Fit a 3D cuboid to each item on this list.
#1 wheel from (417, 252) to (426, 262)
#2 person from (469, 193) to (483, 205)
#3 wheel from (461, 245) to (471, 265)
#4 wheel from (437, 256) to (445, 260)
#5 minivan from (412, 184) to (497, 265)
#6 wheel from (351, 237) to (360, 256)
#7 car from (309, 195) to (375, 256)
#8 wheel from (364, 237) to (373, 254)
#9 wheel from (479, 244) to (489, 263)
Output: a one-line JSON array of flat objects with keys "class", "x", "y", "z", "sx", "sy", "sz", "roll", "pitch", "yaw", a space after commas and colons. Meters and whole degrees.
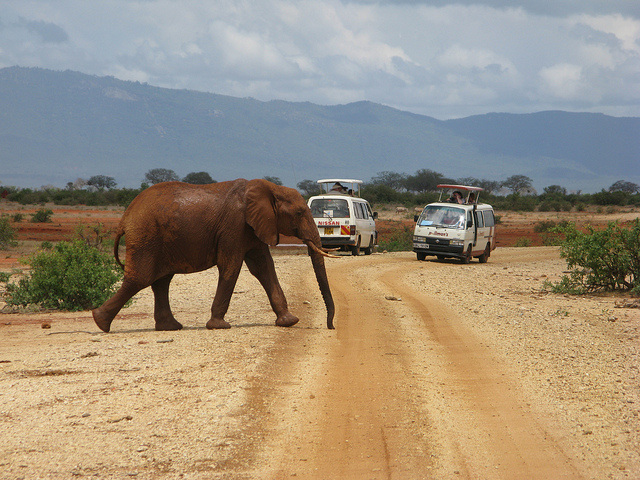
[{"class": "wheel", "x": 3.990, "y": 0.608, "z": 23.531, "sx": 0.299, "sy": 0.314, "sz": 0.316, "roll": -1, "pitch": 15, "yaw": 0}, {"class": "person", "x": 6.560, "y": -1.783, "z": 25.470, "sx": 0.317, "sy": 0.463, "sz": 0.848, "roll": 1, "pitch": 9, "yaw": 24}, {"class": "wheel", "x": 5.465, "y": 0.505, "z": 22.557, "sx": 0.229, "sy": 0.706, "sz": 0.679, "roll": 0, "pitch": -1, "yaw": 11}, {"class": "wheel", "x": 4.876, "y": 0.701, "z": 24.269, "sx": 0.228, "sy": 0.066, "sz": 0.226, "roll": 0, "pitch": -9, "yaw": 0}, {"class": "minivan", "x": 5.572, "y": -0.731, "z": 24.388, "sx": 2.192, "sy": 3.032, "sz": 4.866, "roll": 5, "pitch": 5, "yaw": 28}, {"class": "wheel", "x": 1.485, "y": 0.212, "z": 24.663, "sx": 0.215, "sy": 0.720, "sz": 0.692, "roll": 1, "pitch": -2, "yaw": 14}, {"class": "car", "x": 1.063, "y": -0.786, "z": 24.971, "sx": 1.595, "sy": 1.544, "sz": 2.926, "roll": 0, "pitch": 4, "yaw": 12}, {"class": "wheel", "x": 2.123, "y": 0.191, "z": 26.139, "sx": 0.205, "sy": 0.681, "sz": 0.656, "roll": 0, "pitch": -6, "yaw": 19}, {"class": "wheel", "x": 6.565, "y": 0.518, "z": 24.191, "sx": 0.212, "sy": 0.648, "sz": 0.624, "roll": -1, "pitch": -11, "yaw": 31}]
